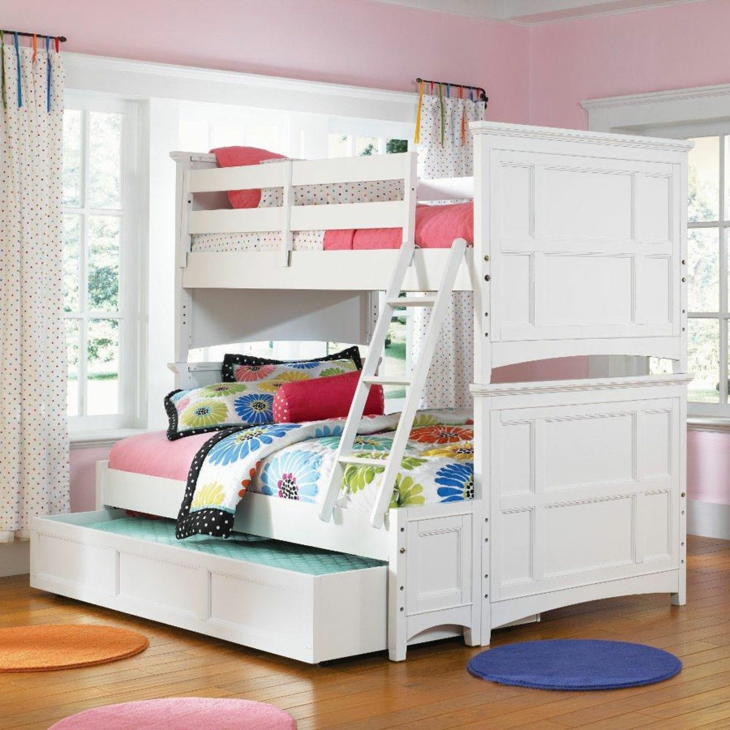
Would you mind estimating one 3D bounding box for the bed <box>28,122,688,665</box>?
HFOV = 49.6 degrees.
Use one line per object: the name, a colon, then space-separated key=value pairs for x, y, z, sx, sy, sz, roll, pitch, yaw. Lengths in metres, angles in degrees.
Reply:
bed: x=0.100 y=0.141 z=3.452 sx=2.281 sy=1.850 sz=2.220 roll=0 pitch=0 yaw=-43
